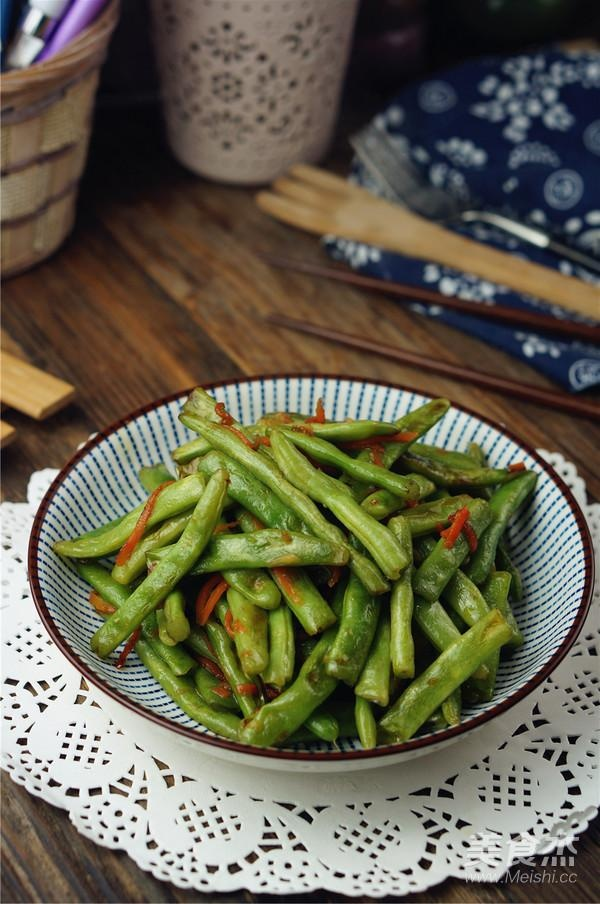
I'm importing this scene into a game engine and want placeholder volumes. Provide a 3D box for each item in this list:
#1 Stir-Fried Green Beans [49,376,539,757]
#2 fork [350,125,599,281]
[{"bbox_3d":[0.076,0.106,0.793,0.371,0.110,0.317,16,75,-15],"label":"Stir-Fried Green Beans"},{"bbox_3d":[0.373,-0.498,1.632,0.606,0.104,0.086,32,97,9],"label":"fork"}]
